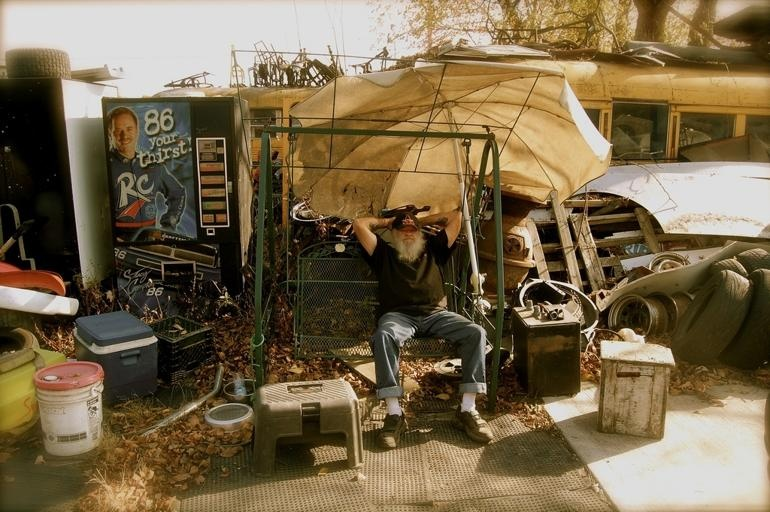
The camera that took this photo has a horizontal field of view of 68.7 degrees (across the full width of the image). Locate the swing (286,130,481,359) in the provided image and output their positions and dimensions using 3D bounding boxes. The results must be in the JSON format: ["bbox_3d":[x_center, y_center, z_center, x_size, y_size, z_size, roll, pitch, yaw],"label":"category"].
[{"bbox_3d":[0.009,-0.148,6.404,2.820,2.617,1.603,0,3,-5],"label":"swing"}]

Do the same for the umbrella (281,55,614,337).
[{"bbox_3d":[0.718,-0.580,6.719,3.135,1.100,3.052,7,-24,15],"label":"umbrella"}]

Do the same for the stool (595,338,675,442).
[{"bbox_3d":[2.527,1.324,5.966,0.820,0.890,0.875,1,6,10],"label":"stool"}]

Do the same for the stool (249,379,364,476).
[{"bbox_3d":[-0.763,1.566,5.342,1.051,0.572,0.790,1,5,-13],"label":"stool"}]

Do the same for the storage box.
[{"bbox_3d":[-2.850,1.057,6.081,0.985,0.704,0.696,12,12,43],"label":"storage box"}]

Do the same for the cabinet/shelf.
[{"bbox_3d":[1.791,1.026,6.235,0.695,0.925,0.569,-1,16,4],"label":"cabinet/shelf"}]

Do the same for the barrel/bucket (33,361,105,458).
[{"bbox_3d":[-2.995,1.442,5.382,0.646,0.663,0.616,1,9,0],"label":"barrel/bucket"}]
